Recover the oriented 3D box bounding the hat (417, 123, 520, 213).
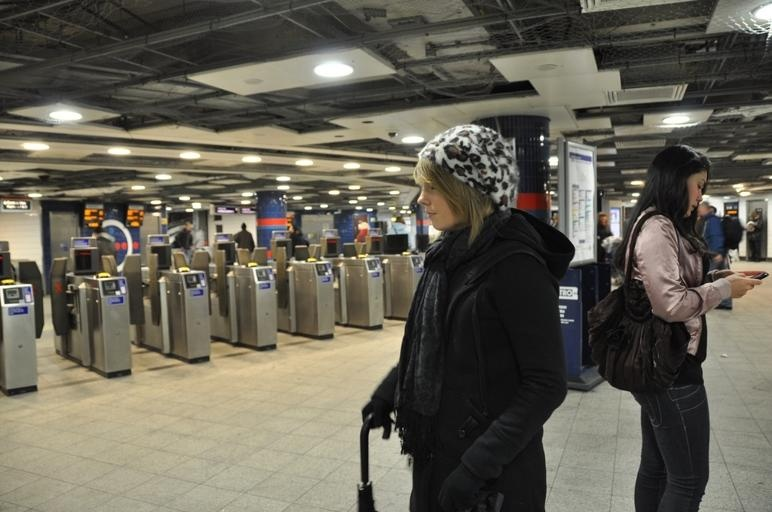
[{"bbox_3d":[0.344,-0.463,2.717,0.575,0.342,0.434,2,9,-3],"label":"hat"}]
